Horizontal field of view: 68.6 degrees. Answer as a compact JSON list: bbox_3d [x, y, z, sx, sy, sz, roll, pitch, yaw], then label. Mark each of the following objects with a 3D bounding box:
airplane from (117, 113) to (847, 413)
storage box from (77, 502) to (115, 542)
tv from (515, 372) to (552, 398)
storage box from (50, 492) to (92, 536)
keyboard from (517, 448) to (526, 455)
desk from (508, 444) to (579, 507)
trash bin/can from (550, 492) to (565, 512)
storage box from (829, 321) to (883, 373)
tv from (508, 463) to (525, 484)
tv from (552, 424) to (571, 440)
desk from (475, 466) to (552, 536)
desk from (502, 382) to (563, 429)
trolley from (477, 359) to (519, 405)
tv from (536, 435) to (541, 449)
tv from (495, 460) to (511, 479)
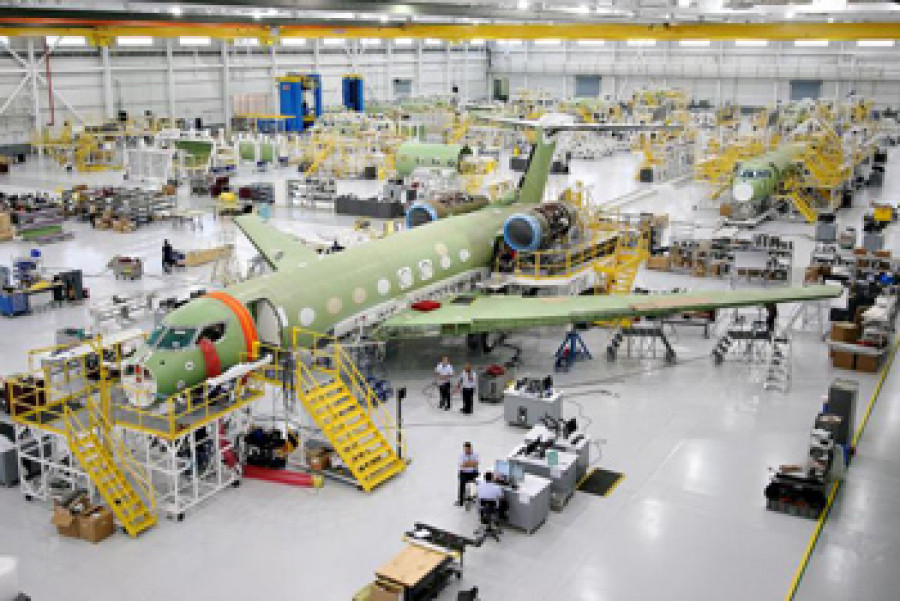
[{"bbox_3d":[-0.445,-3.368,29.163,27.391,9.084,20.502,-12,19,-33],"label":"airplane"},{"bbox_3d":[-10.882,6.927,20.310,0.716,0.803,0.805,8,18,29],"label":"storage box"},{"bbox_3d":[3.335,3.374,25.720,1.010,0.383,1.004,2,12,19],"label":"tv"},{"bbox_3d":[-11.706,6.577,20.712,1.210,0.570,1.191,7,24,24],"label":"storage box"},{"bbox_3d":[2.444,5.100,22.160,0.169,0.021,0.425,3,17,17],"label":"keyboard"},{"bbox_3d":[3.184,5.264,21.984,2.743,1.875,1.662,12,23,35],"label":"desk"},{"bbox_3d":[3.485,6.556,21.384,0.589,0.382,0.427,5,9,23],"label":"trash bin/can"},{"bbox_3d":[18.647,2.571,30.597,3.003,2.791,2.165,2,6,27],"label":"storage box"},{"bbox_3d":[2.127,5.432,20.892,0.811,0.485,0.463,2,10,5],"label":"tv"},{"bbox_3d":[4.093,4.715,23.404,0.509,0.490,0.513,6,3,-17],"label":"tv"},{"bbox_3d":[1.955,6.294,20.576,2.602,1.829,1.577,10,22,33],"label":"desk"},{"bbox_3d":[3.114,4.230,25.363,2.194,1.399,0.994,4,17,20],"label":"desk"},{"bbox_3d":[2.457,3.430,28.129,1.225,1.704,1.995,7,13,30],"label":"trolley"},{"bbox_3d":[2.999,4.805,22.228,0.032,0.205,0.300,12,26,22],"label":"tv"},{"bbox_3d":[1.693,5.404,20.912,0.563,0.529,0.183,3,4,8],"label":"tv"}]
